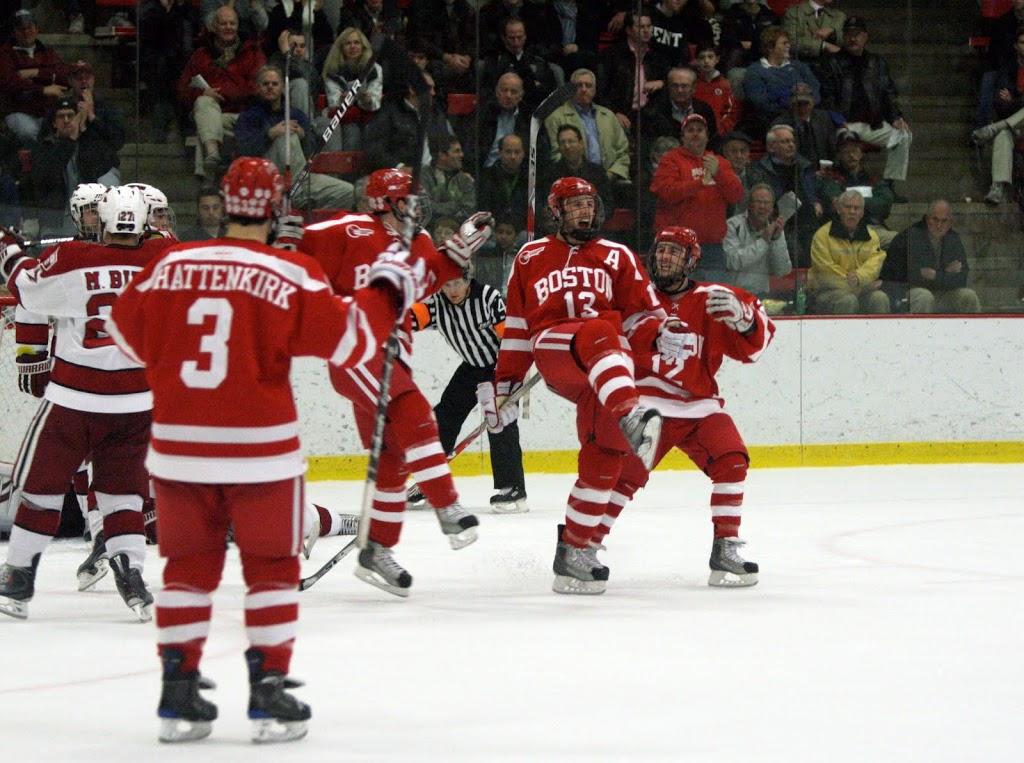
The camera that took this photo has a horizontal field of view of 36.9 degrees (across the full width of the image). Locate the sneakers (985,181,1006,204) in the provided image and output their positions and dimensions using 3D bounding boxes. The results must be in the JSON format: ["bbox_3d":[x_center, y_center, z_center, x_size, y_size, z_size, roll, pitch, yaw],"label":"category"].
[{"bbox_3d":[3.373,-1.324,10.692,0.142,0.171,0.144,2,8,19],"label":"sneakers"}]

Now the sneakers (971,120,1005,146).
[{"bbox_3d":[3.408,-1.804,11.036,0.325,0.105,0.126,-23,17,-15],"label":"sneakers"}]

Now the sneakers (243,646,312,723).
[{"bbox_3d":[-0.816,1.077,5.361,0.121,0.251,0.279,-22,-28,38],"label":"sneakers"}]

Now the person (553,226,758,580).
[{"bbox_3d":[0.701,0.087,7.182,1.098,1.682,0.908,-3,-15,14],"label":"person"}]

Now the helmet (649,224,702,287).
[{"bbox_3d":[0.755,-0.605,7.258,0.232,0.282,0.304,12,9,19],"label":"helmet"}]

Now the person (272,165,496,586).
[{"bbox_3d":[-0.538,-0.055,6.867,1.104,1.842,0.701,-1,-11,-10],"label":"person"}]

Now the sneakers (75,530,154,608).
[{"bbox_3d":[-1.789,0.839,6.739,0.212,0.272,0.639,1,20,-26],"label":"sneakers"}]

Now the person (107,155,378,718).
[{"bbox_3d":[-0.944,0.329,5.353,0.888,1.647,0.356,-1,8,-7],"label":"person"}]

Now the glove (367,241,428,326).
[{"bbox_3d":[-0.443,-0.381,5.573,0.117,0.230,0.293,-40,22,31],"label":"glove"}]

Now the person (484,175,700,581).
[{"bbox_3d":[0.406,0.016,6.938,0.635,1.848,1.132,-5,9,-27],"label":"person"}]

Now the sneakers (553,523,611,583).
[{"bbox_3d":[0.305,0.779,6.958,0.240,0.258,0.179,0,8,1],"label":"sneakers"}]

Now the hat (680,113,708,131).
[{"bbox_3d":[1.222,-1.778,10.454,0.160,0.106,0.255,-1,-5,1],"label":"hat"}]

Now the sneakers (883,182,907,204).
[{"bbox_3d":[2.649,-1.293,10.652,0.159,0.149,0.055,-7,-14,-27],"label":"sneakers"}]

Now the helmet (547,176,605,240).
[{"bbox_3d":[0.280,-0.809,7.083,0.237,0.292,0.299,-5,7,-20],"label":"helmet"}]

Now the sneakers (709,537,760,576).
[{"bbox_3d":[1.004,0.793,7.010,0.220,0.178,0.163,-2,8,-12],"label":"sneakers"}]

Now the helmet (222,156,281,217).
[{"bbox_3d":[-0.908,-0.695,5.414,0.190,0.191,0.219,6,16,2],"label":"helmet"}]

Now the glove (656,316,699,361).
[{"bbox_3d":[0.750,-0.188,7.062,0.177,0.150,0.204,11,10,-29],"label":"glove"}]

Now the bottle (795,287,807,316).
[{"bbox_3d":[1.941,-0.542,10.337,0.092,0.176,0.024,-4,9,-25],"label":"bottle"}]

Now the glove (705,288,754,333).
[{"bbox_3d":[0.991,-0.338,7.005,0.066,0.220,0.165,-17,36,45],"label":"glove"}]

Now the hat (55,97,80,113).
[{"bbox_3d":[-2.763,-1.720,9.494,0.092,0.102,0.113,2,-26,-8],"label":"hat"}]

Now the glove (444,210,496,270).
[{"bbox_3d":[-0.185,-0.577,6.250,0.193,0.216,0.208,-1,8,-3],"label":"glove"}]

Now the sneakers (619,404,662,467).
[{"bbox_3d":[0.539,0.229,6.470,0.109,0.315,0.141,-30,51,-23],"label":"sneakers"}]
